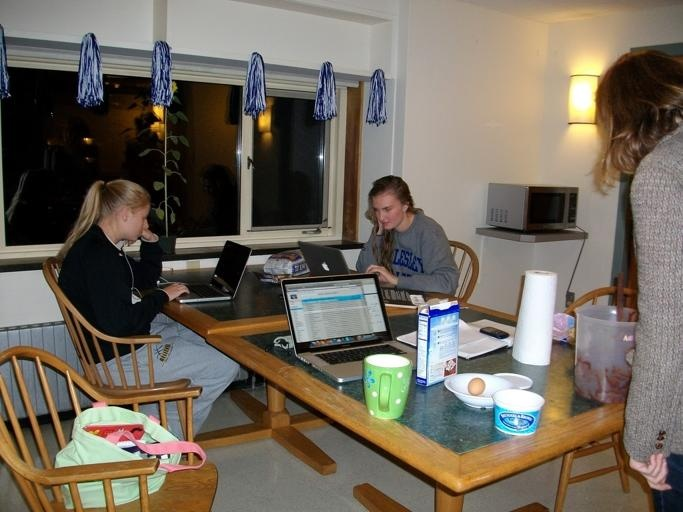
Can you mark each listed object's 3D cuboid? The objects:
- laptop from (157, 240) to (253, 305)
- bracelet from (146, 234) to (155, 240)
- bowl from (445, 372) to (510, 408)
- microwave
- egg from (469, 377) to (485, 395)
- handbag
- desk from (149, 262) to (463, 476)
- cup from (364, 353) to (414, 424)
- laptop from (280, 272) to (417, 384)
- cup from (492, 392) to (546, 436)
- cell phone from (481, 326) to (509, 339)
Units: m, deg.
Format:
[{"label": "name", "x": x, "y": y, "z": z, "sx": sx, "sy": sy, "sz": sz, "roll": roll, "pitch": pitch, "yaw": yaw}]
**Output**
[{"label": "laptop", "x": -0.706, "y": 0.113, "z": 2.789, "sx": 0.372, "sy": 0.255, "sz": 0.411, "roll": 2, "pitch": 9, "yaw": -26}, {"label": "bracelet", "x": -1.104, "y": -0.108, "z": 3.029, "sx": 0.033, "sy": 0.024, "sz": 0.033, "roll": 1, "pitch": 4, "yaw": -28}, {"label": "bowl", "x": 0.414, "y": 0.407, "z": 1.617, "sx": 0.115, "sy": 0.031, "sz": 0.115, "roll": 1, "pitch": 11, "yaw": 0}, {"label": "microwave", "x": 1.494, "y": -0.381, "z": 4.154, "sx": 0.581, "sy": 0.373, "sz": 0.400, "roll": -3, "pitch": 9, "yaw": -26}, {"label": "egg", "x": 0.404, "y": 0.394, "z": 1.582, "sx": 0.028, "sy": 0.029, "sz": 0.034, "roll": -20, "pitch": 24, "yaw": 40}, {"label": "handbag", "x": -0.687, "y": 0.642, "z": 1.771, "sx": 0.453, "sy": 0.216, "sz": 0.289, "roll": 9, "pitch": 17, "yaw": -29}, {"label": "desk", "x": -0.459, "y": 0.602, "z": 2.731, "sx": 1.109, "sy": 0.670, "sz": 1.097, "roll": -7, "pitch": 12, "yaw": -36}, {"label": "cup", "x": 0.137, "y": 0.375, "z": 1.514, "sx": 0.121, "sy": 0.125, "sz": 0.178, "roll": 2, "pitch": 14, "yaw": 10}, {"label": "laptop", "x": -0.011, "y": 0.245, "z": 2.022, "sx": 0.411, "sy": 0.251, "sz": 0.378, "roll": -5, "pitch": 12, "yaw": -32}, {"label": "cup", "x": 0.483, "y": 0.433, "z": 1.470, "sx": 0.119, "sy": 0.072, "sz": 0.117, "roll": -2, "pitch": 11, "yaw": 0}, {"label": "cell phone", "x": 0.615, "y": 0.306, "z": 2.125, "sx": 0.039, "sy": 0.017, "sz": 0.072, "roll": -4, "pitch": 10, "yaw": -22}]
